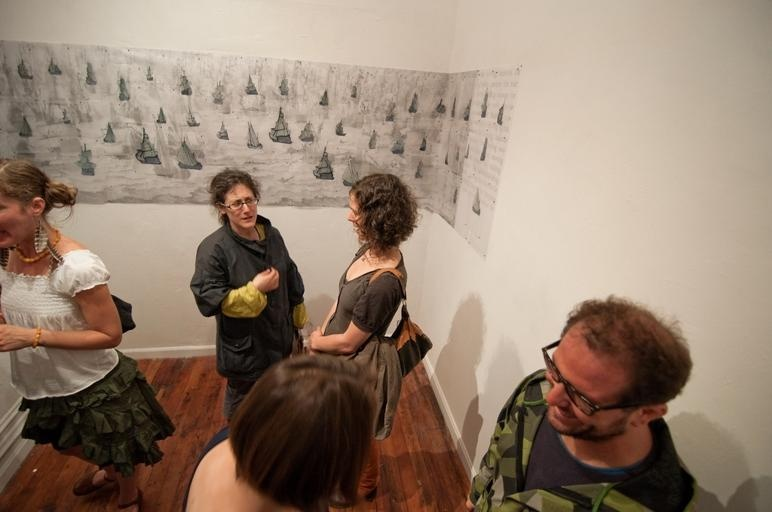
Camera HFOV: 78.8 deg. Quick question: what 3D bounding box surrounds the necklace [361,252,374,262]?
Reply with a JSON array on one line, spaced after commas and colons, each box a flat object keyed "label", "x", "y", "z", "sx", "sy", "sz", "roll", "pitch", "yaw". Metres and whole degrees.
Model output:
[{"label": "necklace", "x": -0.101, "y": 0.006, "z": 2.611, "sx": 0.047, "sy": 0.047, "sz": 0.011, "roll": 41, "pitch": 49, "yaw": 19}]

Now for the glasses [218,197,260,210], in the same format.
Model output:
[{"label": "glasses", "x": -0.845, "y": -0.308, "z": 2.705, "sx": 0.180, "sy": 0.063, "sz": 0.076, "roll": -7, "pitch": 21, "yaw": -24}]

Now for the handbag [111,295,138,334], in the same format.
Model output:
[{"label": "handbag", "x": -1.368, "y": 0.311, "z": 2.481, "sx": 0.087, "sy": 0.252, "sz": 0.254, "roll": -7, "pitch": 1, "yaw": -17}]

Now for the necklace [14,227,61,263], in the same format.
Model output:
[{"label": "necklace", "x": -1.642, "y": -0.058, "z": 2.224, "sx": 0.197, "sy": 0.060, "sz": 0.164, "roll": 8, "pitch": 17, "yaw": 27}]

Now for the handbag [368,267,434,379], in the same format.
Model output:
[{"label": "handbag", "x": 0.121, "y": 0.413, "z": 2.806, "sx": 0.267, "sy": 0.495, "sz": 0.354, "roll": -22, "pitch": 4, "yaw": 18}]
